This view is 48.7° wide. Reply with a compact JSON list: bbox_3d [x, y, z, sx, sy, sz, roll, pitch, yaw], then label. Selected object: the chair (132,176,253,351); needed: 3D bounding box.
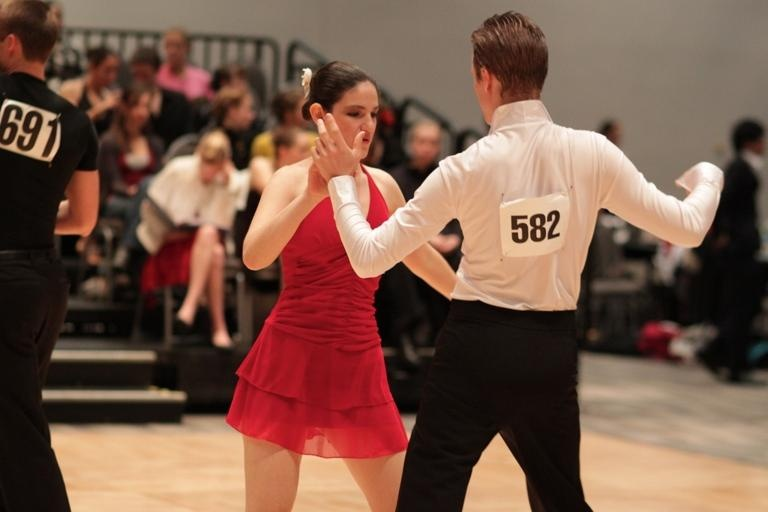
[{"bbox_3d":[-1.496,-0.195,6.623,0.777,1.530,0.720,-3,-15,45],"label":"chair"}]
